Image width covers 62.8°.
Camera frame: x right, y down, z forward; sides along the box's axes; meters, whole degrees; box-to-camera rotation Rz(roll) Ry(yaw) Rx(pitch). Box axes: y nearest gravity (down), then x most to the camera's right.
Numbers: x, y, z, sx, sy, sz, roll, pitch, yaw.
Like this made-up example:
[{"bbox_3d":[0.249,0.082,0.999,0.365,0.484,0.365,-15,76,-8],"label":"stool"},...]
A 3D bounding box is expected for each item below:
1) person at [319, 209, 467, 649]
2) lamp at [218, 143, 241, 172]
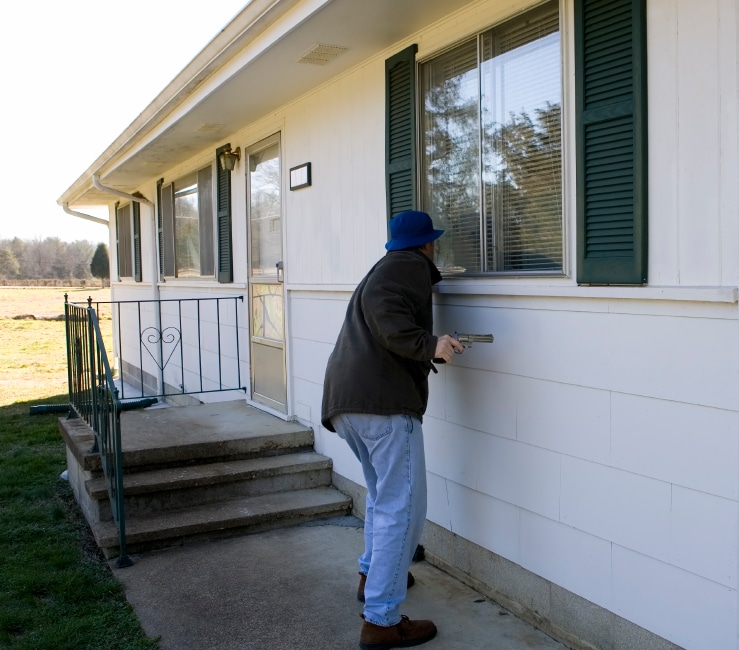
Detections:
[{"bbox_3d":[0.101,0.528,2.801,0.543,1.728,0.507,-3,4,-27],"label":"person"},{"bbox_3d":[-1.373,-1.644,5.915,0.163,0.280,0.378,-3,4,-23],"label":"lamp"}]
